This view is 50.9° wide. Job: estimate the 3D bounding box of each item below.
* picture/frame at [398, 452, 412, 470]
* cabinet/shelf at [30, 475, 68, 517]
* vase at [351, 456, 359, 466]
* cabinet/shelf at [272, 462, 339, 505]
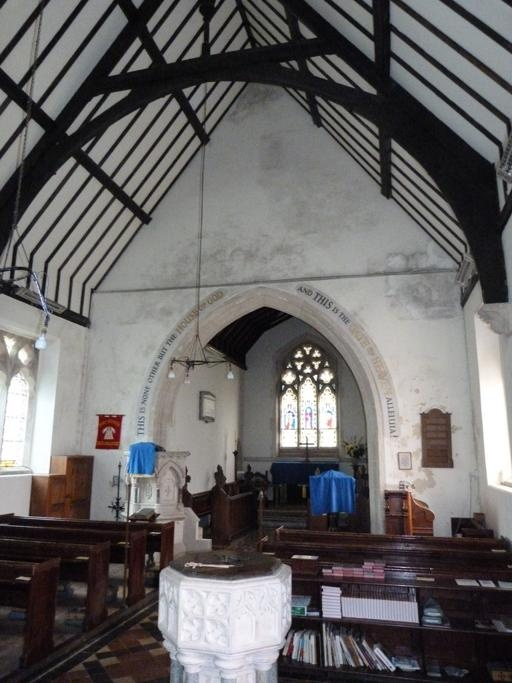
[{"bbox_3d":[2.052,1.667,7.447,0.221,0.312,0.034,1,-21,6],"label":"picture/frame"},{"bbox_3d":[-3.000,2.246,7.794,0.252,0.836,0.434,-7,-16,15],"label":"cabinet/shelf"},{"bbox_3d":[2.093,2.551,11.389,0.164,0.168,0.140,-7,-11,42],"label":"vase"},{"bbox_3d":[1.094,3.475,13.063,1.442,1.071,2.095,0,-12,-3],"label":"cabinet/shelf"}]
